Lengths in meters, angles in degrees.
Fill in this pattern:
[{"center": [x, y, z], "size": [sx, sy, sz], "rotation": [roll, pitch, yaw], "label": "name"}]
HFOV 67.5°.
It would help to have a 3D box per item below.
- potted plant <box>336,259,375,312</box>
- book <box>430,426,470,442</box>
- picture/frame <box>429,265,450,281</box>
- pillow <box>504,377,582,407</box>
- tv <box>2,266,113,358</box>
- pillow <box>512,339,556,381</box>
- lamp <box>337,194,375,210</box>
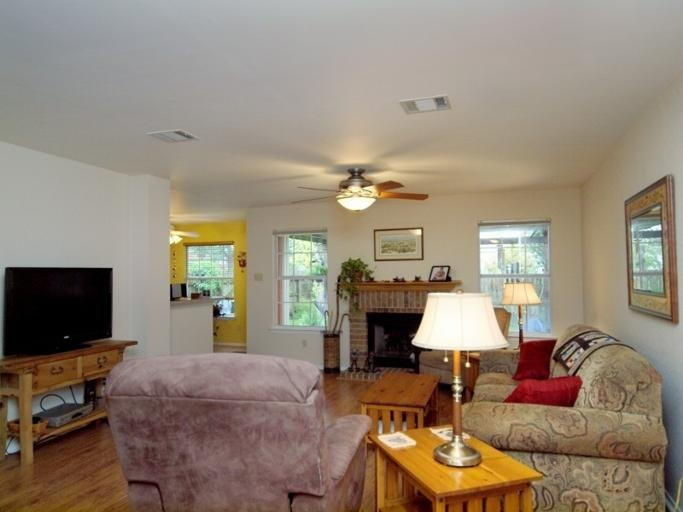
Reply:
[{"center": [0.285, 0.406, 7.515], "size": [0.665, 0.835, 0.659], "rotation": [3, -3, -17], "label": "potted plant"}, {"center": [0.672, 1.099, 3.157], "size": [0.172, 0.020, 0.181], "rotation": [-2, 1, -19], "label": "book"}, {"center": [1.343, 0.233, 6.990], "size": [0.206, 0.189, 0.073], "rotation": [-3, -30, 33], "label": "picture/frame"}, {"center": [1.378, 0.921, 3.468], "size": [0.362, 0.103, 0.354], "rotation": [-4, -4, 18], "label": "pillow"}, {"center": [-2.639, 0.517, 4.675], "size": [0.209, 0.630, 0.900], "rotation": [-2, -3, 24], "label": "tv"}, {"center": [1.754, 0.940, 4.659], "size": [0.130, 0.410, 0.395], "rotation": [31, -29, -34], "label": "pillow"}, {"center": [0.155, -0.570, 5.344], "size": [0.358, 0.109, 0.304], "rotation": [-4, -5, 36], "label": "lamp"}]
